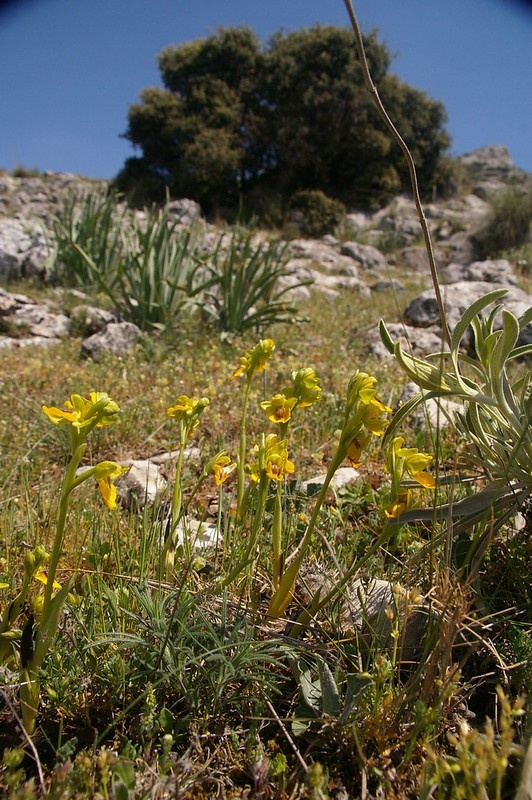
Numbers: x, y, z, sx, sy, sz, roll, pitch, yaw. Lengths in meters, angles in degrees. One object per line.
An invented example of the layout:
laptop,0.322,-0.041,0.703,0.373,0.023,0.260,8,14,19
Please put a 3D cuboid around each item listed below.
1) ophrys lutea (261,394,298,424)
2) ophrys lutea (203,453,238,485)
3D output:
ophrys lutea,0.035,0.017,1.661,0.063,0.071,0.038,-23,-2,33
ophrys lutea,-0.118,0.170,1.829,0.091,0.090,0.039,-18,39,-40
